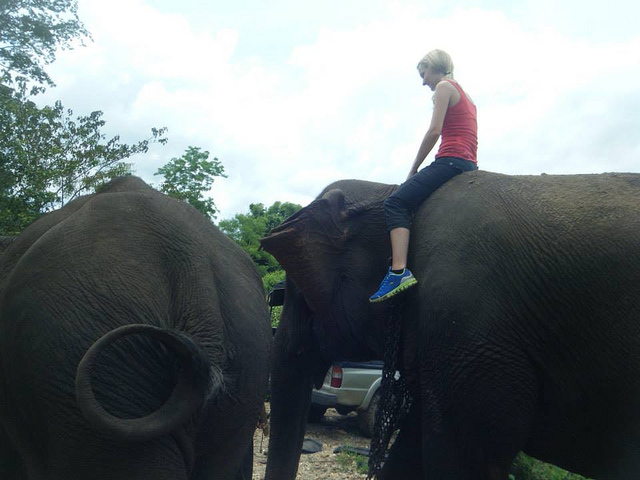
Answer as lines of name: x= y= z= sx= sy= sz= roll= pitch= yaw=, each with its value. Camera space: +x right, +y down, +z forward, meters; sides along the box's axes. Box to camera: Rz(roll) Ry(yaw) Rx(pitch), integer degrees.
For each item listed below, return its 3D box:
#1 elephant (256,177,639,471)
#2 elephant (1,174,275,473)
elephant: x=0.727 y=0.498 z=3.450 sx=2.229 sy=1.857 sz=0.841 roll=-2 pitch=-5 yaw=24
elephant: x=-0.972 y=0.504 z=3.243 sx=1.020 sy=1.841 sz=1.441 roll=-3 pitch=-6 yaw=38
